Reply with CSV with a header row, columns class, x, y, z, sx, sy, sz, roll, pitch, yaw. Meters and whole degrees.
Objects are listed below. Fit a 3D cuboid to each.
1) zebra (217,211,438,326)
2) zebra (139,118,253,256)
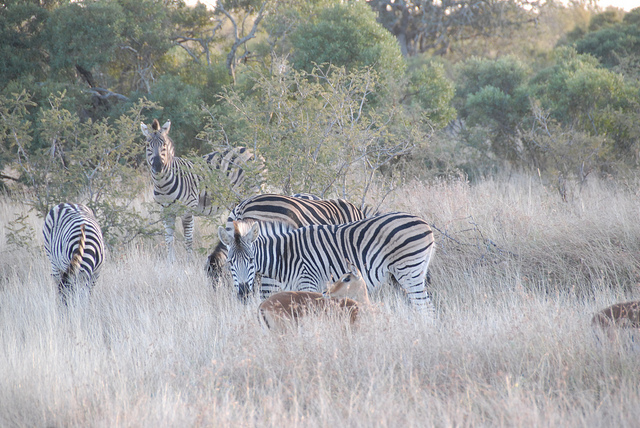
class,x,y,z,sx,sy,sz,roll,pitch,yaw
zebra,0.361,1.222,21.445,4.195,2.314,1.179,-3,0,5
zebra,-3.895,-0.566,26.261,1.096,3.365,4.501,-5,-1,1
